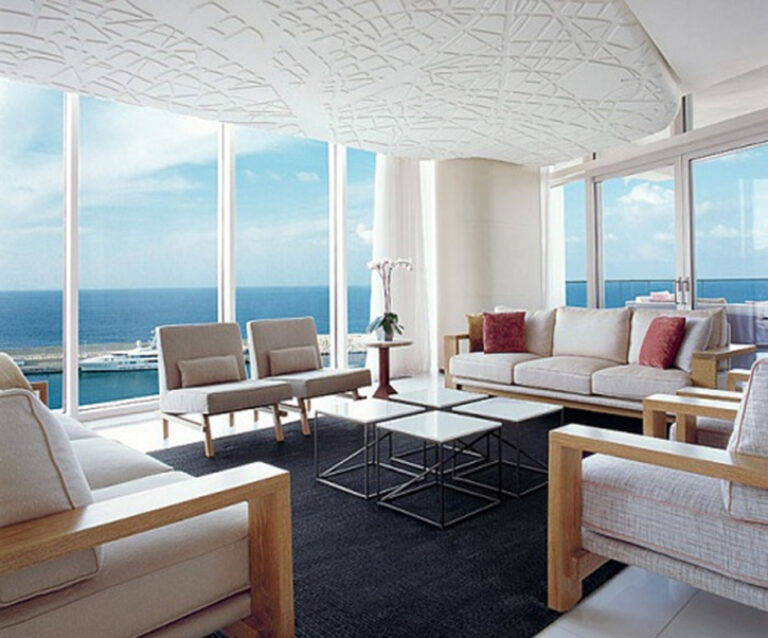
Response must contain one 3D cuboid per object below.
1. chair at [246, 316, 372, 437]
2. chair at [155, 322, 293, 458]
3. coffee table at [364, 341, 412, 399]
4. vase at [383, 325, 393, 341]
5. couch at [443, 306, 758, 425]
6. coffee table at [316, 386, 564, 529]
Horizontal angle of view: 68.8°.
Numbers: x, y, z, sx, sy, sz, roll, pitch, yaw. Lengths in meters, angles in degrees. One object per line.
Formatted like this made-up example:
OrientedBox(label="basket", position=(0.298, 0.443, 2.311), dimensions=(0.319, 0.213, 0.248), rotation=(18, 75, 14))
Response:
OrientedBox(label="chair", position=(-0.625, 0.450, 4.647), dimensions=(0.889, 0.837, 0.929), rotation=(-3, 5, -28))
OrientedBox(label="chair", position=(-1.102, 0.477, 4.368), dimensions=(0.990, 1.063, 0.904), rotation=(-1, 1, 45))
OrientedBox(label="coffee table", position=(0.006, 0.508, 5.594), dimensions=(0.533, 0.538, 0.501), rotation=(1, -1, -32))
OrientedBox(label="vase", position=(0.058, 0.154, 5.816), dimensions=(0.124, 0.153, 0.142), rotation=(-6, -7, 27))
OrientedBox(label="couch", position=(1.653, 0.352, 4.873), dimensions=(0.870, 0.882, 2.357), rotation=(-5, 5, -42))
OrientedBox(label="coffee table", position=(0.298, 0.821, 3.312), dimensions=(0.869, 0.331, 0.835), rotation=(-1, 1, -43))
